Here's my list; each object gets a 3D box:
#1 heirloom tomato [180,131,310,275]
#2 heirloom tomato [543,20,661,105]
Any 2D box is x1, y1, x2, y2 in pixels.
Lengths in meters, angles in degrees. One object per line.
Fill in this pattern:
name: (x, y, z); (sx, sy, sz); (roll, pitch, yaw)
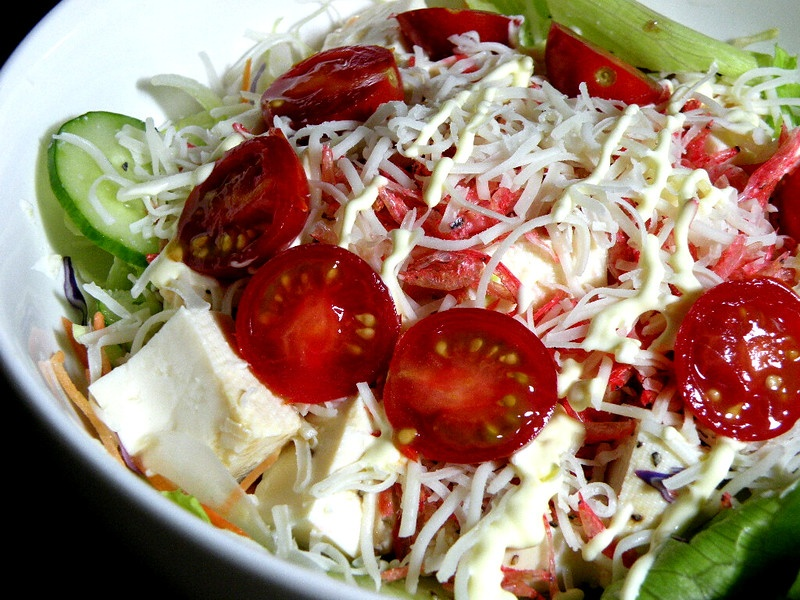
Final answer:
heirloom tomato: (-0.479, -0.305, 2.792); (0.425, 0.187, 0.488); (-29, 44, 35)
heirloom tomato: (0.774, -0.864, 3.152); (0.375, 0.381, 0.171); (30, 102, -10)
